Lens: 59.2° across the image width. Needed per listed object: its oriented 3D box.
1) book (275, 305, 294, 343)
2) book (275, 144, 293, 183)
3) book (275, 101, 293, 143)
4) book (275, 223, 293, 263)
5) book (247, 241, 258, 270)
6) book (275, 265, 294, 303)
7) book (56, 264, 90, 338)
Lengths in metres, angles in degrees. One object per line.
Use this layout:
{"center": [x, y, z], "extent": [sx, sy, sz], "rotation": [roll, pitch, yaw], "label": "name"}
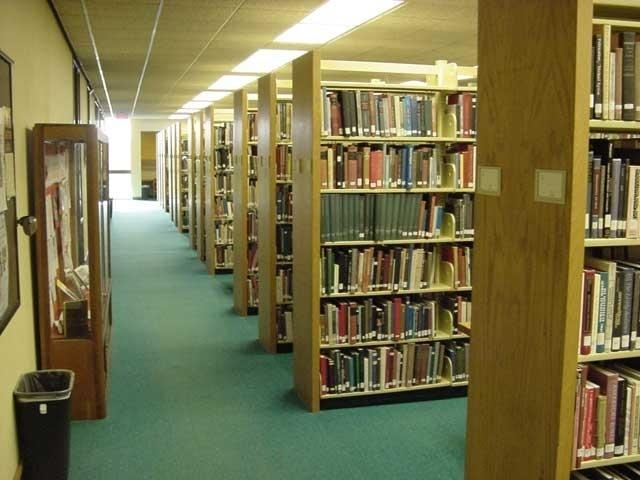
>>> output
{"center": [-0.405, 0.888, 6.283], "extent": [0.303, 0.414, 0.413], "rotation": [0, 1, -8], "label": "book"}
{"center": [-0.418, -0.896, 6.563], "extent": [0.330, 0.491, 0.390], "rotation": [1, 5, -5], "label": "book"}
{"center": [-0.387, -1.297, 6.084], "extent": [0.147, 0.427, 0.136], "rotation": [-2, 3, 0], "label": "book"}
{"center": [-0.410, 0.015, 6.452], "extent": [0.304, 0.426, 0.426], "rotation": [-1, 4, -9], "label": "book"}
{"center": [-0.900, 0.221, 7.523], "extent": [0.152, 0.327, 0.093], "rotation": [-1, 3, 13], "label": "book"}
{"center": [-0.396, 0.460, 6.508], "extent": [0.273, 0.447, 0.468], "rotation": [0, 1, -4], "label": "book"}
{"center": [-2.001, 0.514, 4.544], "extent": [0.194, 0.547, 0.560], "rotation": [-3, 2, -21], "label": "book"}
